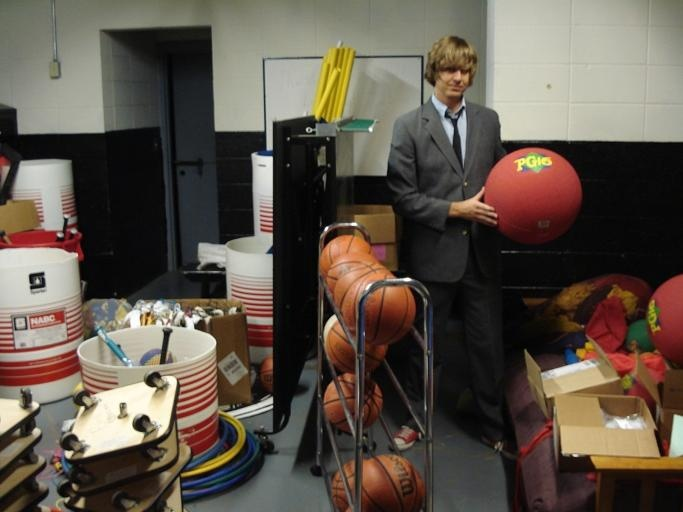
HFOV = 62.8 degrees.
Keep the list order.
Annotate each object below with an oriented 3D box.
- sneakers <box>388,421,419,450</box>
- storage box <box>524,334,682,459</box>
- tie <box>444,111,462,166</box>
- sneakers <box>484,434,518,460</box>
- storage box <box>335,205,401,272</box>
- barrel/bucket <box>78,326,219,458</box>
[{"bbox_3d":[0.398,1.032,3.329,0.141,0.130,0.302,18,-4,27],"label":"sneakers"},{"bbox_3d":[1.194,0.746,2.682,0.461,0.227,0.522,1,42,5],"label":"storage box"},{"bbox_3d":[0.649,-0.682,3.215,0.100,0.307,0.087,0,11,3],"label":"tie"},{"bbox_3d":[0.922,1.091,3.234,0.064,0.077,0.184,-19,48,-36],"label":"sneakers"},{"bbox_3d":[0.235,-0.140,4.300,0.438,0.504,0.470,0,4,4],"label":"storage box"},{"bbox_3d":[-1.062,0.746,3.132,0.716,0.583,0.506,3,12,19],"label":"barrel/bucket"}]
